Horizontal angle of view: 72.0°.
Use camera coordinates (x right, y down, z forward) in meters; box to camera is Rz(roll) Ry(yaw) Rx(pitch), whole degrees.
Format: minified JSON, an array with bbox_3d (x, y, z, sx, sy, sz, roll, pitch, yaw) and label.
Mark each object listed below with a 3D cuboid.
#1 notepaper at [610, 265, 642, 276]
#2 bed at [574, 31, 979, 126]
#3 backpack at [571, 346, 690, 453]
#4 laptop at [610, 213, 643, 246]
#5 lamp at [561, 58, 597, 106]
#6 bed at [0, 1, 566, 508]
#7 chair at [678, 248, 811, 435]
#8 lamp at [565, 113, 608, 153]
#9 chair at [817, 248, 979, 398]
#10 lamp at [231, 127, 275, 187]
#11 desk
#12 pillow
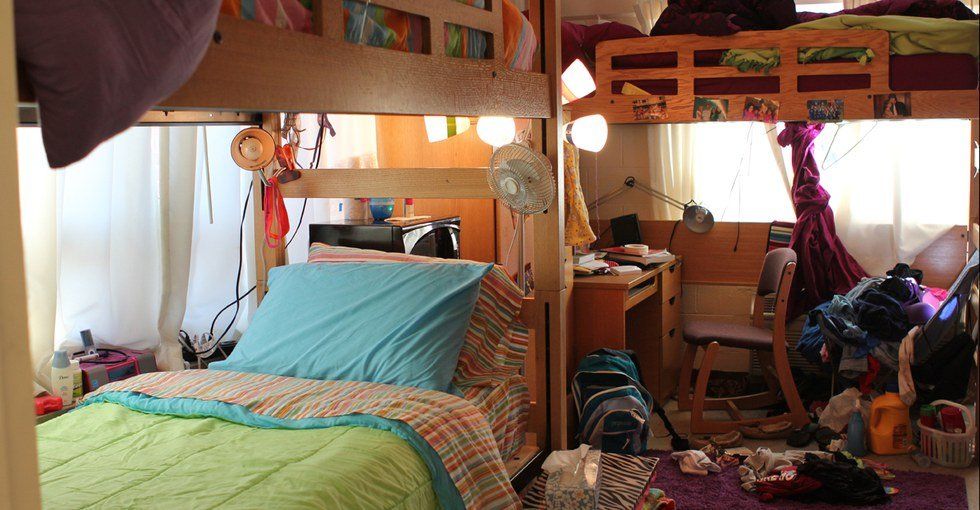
[{"bbox_3d":[0.966,0.112,4.804,0.238,0.053,0.218,0,3,-5],"label":"notepaper"},{"bbox_3d":[1.921,-1.227,4.672,2.480,0.624,0.126,1,4,14],"label":"bed"},{"bbox_3d":[0.771,0.926,4.293,0.515,0.575,0.513,0,4,5],"label":"backpack"},{"bbox_3d":[1.116,-0.210,5.551,0.260,0.261,0.196,0,4,8],"label":"laptop"},{"bbox_3d":[0.565,-1.149,4.406,0.193,0.267,0.138,0,4,5],"label":"lamp"},{"bbox_3d":[-0.828,-0.351,2.944,0.950,1.917,2.586,3,5,38],"label":"bed"},{"bbox_3d":[1.788,0.577,4.857,0.855,1.255,0.738,0,4,8],"label":"chair"},{"bbox_3d":[0.627,-0.776,4.410,0.262,0.229,0.262,1,-8,9],"label":"lamp"},{"bbox_3d":[2.693,0.474,4.502,0.893,0.894,0.503,2,4,30],"label":"chair"},{"bbox_3d":[-1.465,-0.650,4.184,0.289,0.255,0.100,0,8,3],"label":"lamp"},{"bbox_3d":[0.921,0.507,4.694,0.407,0.844,1.095,0,6,16],"label":"desk"},{"bbox_3d":[-0.651,0.346,3.708,1.241,0.426,0.875,5,14,14],"label":"pillow"}]
